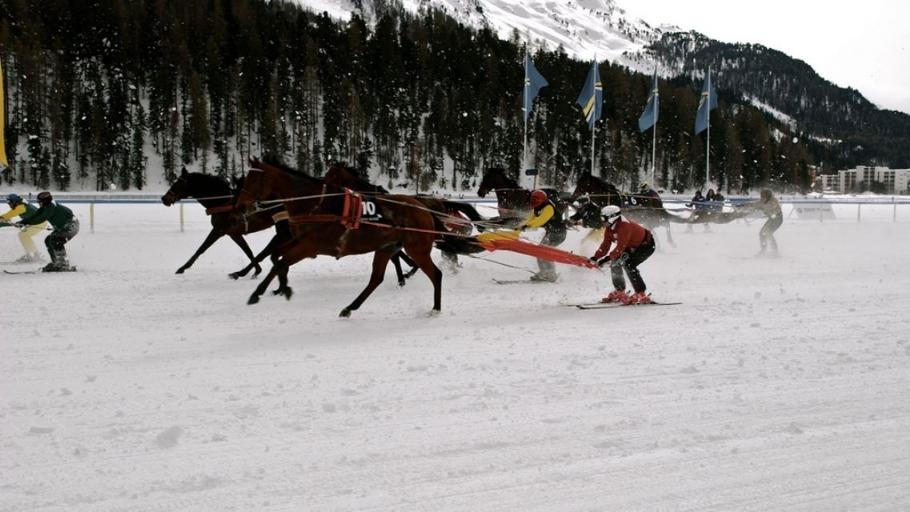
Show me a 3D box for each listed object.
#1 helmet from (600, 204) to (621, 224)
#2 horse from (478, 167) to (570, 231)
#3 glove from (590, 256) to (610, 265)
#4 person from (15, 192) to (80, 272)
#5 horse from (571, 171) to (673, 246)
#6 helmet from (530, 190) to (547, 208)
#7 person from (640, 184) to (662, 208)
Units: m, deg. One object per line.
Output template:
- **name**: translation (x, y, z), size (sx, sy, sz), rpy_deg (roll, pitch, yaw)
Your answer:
- **helmet**: translation (4.910, -1.292, 26.418), size (0.609, 0.519, 0.331), rpy_deg (1, 6, 7)
- **horse**: translation (2.331, -2.092, 31.776), size (3.374, 2.084, 0.761), rpy_deg (1, 13, -31)
- **glove**: translation (4.488, 0.147, 26.107), size (0.639, 0.322, 0.281), rpy_deg (0, 6, -9)
- **person**: translation (-13.984, -0.850, 29.407), size (1.519, 2.639, 1.082), rpy_deg (5, 8, 36)
- **horse**: translation (6.778, -1.531, 33.900), size (5.811, 3.124, 1.275), rpy_deg (7, 9, -34)
- **helmet**: translation (2.768, -1.940, 28.674), size (0.625, 0.501, 0.475), rpy_deg (12, 3, -8)
- **person**: translation (7.946, -2.474, 34.630), size (0.527, 0.458, 1.525), rpy_deg (14, 17, -16)
